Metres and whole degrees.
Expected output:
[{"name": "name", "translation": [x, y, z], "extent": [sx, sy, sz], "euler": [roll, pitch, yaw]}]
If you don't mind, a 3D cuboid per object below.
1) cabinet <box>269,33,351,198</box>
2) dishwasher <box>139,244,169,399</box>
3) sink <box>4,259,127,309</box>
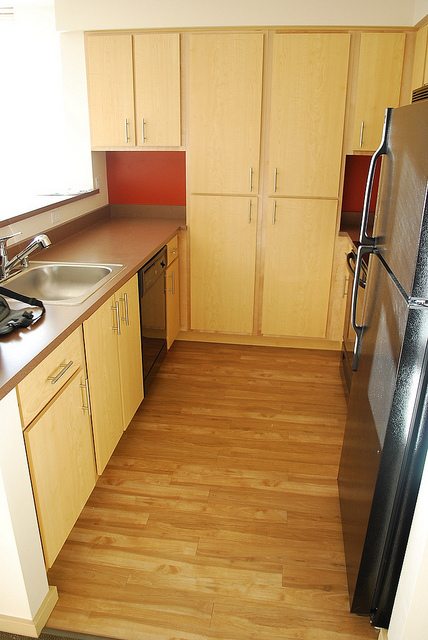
[{"name": "cabinet", "translation": [0.559, -1.239, 2.829], "extent": [0.379, 0.904, 0.306], "euler": [2, 21, 3]}, {"name": "dishwasher", "translation": [-0.341, -0.019, 2.685], "extent": [0.058, 0.756, 0.703], "euler": [1, 23, 2]}, {"name": "sink", "translation": [-0.648, -0.172, 2.065], "extent": [0.247, 0.125, 0.316], "euler": [7, 30, 5]}]
